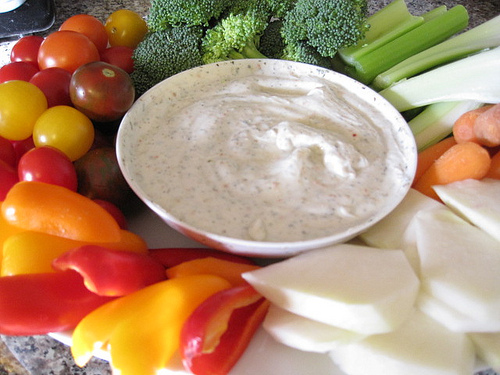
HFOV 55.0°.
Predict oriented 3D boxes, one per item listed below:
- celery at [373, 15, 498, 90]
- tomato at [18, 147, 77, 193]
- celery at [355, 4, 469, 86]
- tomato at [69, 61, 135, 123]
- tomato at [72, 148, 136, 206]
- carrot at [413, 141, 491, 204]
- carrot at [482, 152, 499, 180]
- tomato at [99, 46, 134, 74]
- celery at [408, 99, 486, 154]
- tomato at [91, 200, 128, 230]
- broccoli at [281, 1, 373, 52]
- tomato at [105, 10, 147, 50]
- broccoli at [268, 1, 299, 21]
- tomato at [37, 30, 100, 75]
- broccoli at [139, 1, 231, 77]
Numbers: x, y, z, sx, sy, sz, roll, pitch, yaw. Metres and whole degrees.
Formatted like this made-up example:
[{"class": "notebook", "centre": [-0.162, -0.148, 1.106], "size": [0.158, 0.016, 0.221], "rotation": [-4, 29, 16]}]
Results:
[{"class": "celery", "centre": [0.685, -0.520, 1.857], "size": [0.268, 0.408, 0.252], "rotation": [-6, 40, -9]}, {"class": "tomato", "centre": [-0.592, -0.062, 1.390], "size": [0.173, 0.096, 0.111], "rotation": [9, 80, 4]}, {"class": "celery", "centre": [0.600, -0.539, 1.879], "size": [0.625, 0.186, 0.173], "rotation": [-29, 100, -9]}, {"class": "tomato", "centre": [-0.496, -0.323, 1.581], "size": [0.236, 0.185, 0.220], "rotation": [-5, 17, -18]}, {"class": "tomato", "centre": [-0.457, -0.023, 1.465], "size": [0.142, 0.076, 0.178], "rotation": [-22, 79, -1]}, {"class": "carrot", "centre": [0.615, -0.061, 1.443], "size": [0.253, 0.091, 0.123], "rotation": [-38, 45, 7]}, {"class": "carrot", "centre": [0.738, -0.070, 1.477], "size": [0.037, 0.057, 0.070], "rotation": [5, 88, 29]}, {"class": "tomato", "centre": [-0.476, -0.481, 1.777], "size": [0.128, 0.104, 0.128], "rotation": [6, 31, -3]}, {"class": "celery", "centre": [0.669, -0.252, 1.635], "size": [0.229, 0.191, 0.127], "rotation": [24, 32, 33]}, {"class": "tomato", "centre": [-0.402, 0.073, 1.406], "size": [0.091, 0.079, 0.118], "rotation": [-1, 20, -17]}, {"class": "broccoli", "centre": [0.243, -0.569, 1.663], "size": [0.209, 0.085, 0.222], "rotation": [15, 59, 25]}, {"class": "tomato", "centre": [-0.489, -0.625, 1.971], "size": [0.145, 0.158, 0.153], "rotation": [14, 69, 42]}, {"class": "broccoli", "centre": [0.123, -0.679, 1.809], "size": [0.068, 0.041, 0.078], "rotation": [6, 40, 18]}, {"class": "tomato", "centre": [-0.625, -0.463, 1.726], "size": [0.166, 0.190, 0.181], "rotation": [-14, 13, 19]}, {"class": "broccoli", "centre": [-0.259, -0.537, 1.723], "size": [0.230, 0.094, 0.330], "rotation": [8, 53, 15]}]
